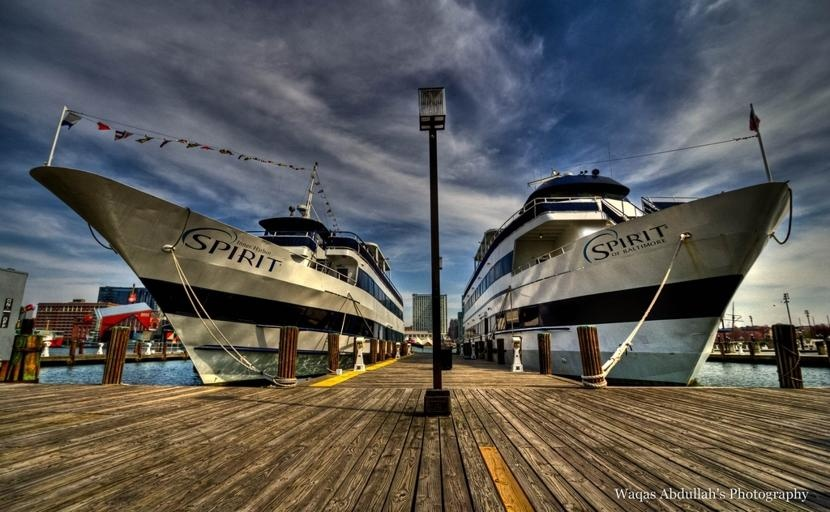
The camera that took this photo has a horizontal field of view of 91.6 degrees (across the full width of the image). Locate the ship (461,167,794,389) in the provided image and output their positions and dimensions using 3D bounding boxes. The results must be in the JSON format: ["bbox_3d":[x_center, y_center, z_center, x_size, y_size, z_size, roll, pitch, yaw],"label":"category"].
[{"bbox_3d":[7.561,2.070,17.690,4.197,6.705,17.961,2,-17,-3],"label":"ship"}]

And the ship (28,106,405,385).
[{"bbox_3d":[-4.506,0.847,15.841,3.654,6.699,16.222,-19,-25,29],"label":"ship"}]
